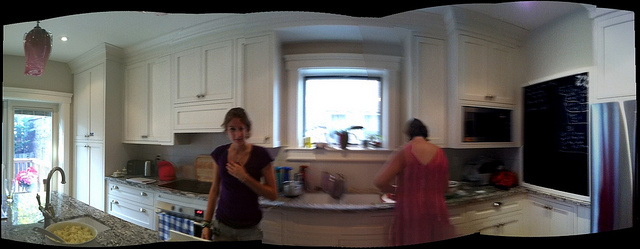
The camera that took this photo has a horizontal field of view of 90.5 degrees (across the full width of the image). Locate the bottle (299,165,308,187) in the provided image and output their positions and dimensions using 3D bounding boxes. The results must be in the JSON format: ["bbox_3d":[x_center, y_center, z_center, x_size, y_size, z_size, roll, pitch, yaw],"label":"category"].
[{"bbox_3d":[-0.134,0.404,2.494,0.064,0.169,0.018,1,-1,-8],"label":"bottle"}]

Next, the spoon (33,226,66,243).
[{"bbox_3d":[-2.333,0.948,2.733,0.270,0.050,0.049,26,8,2],"label":"spoon"}]

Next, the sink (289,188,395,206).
[{"bbox_3d":[0.178,0.577,2.510,0.595,0.085,0.190,-1,3,-1],"label":"sink"}]

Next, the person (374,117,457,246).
[{"bbox_3d":[0.758,0.458,2.535,0.615,1.007,0.149,1,-1,-15],"label":"person"}]

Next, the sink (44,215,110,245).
[{"bbox_3d":[-2.102,0.915,2.721,0.423,0.087,0.360,13,15,18],"label":"sink"}]

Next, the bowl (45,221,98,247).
[{"bbox_3d":[-2.103,0.943,2.737,0.384,0.092,0.294,8,0,3],"label":"bowl"}]

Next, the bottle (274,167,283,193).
[{"bbox_3d":[-0.332,0.433,2.503,0.055,0.196,0.019,0,-1,-2],"label":"bottle"}]

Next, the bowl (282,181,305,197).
[{"bbox_3d":[-0.220,0.499,2.459,0.185,0.069,0.145,-1,-5,7],"label":"bowl"}]
